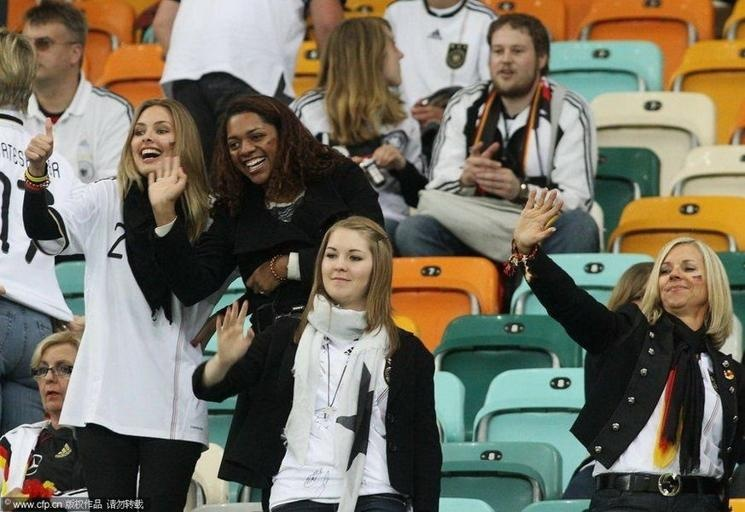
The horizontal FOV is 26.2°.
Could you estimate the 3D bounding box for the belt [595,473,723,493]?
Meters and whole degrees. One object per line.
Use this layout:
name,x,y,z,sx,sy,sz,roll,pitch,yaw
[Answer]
belt,1.364,1.071,7.448,0.523,0.101,0.101,2,-2,-4

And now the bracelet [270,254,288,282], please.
bracelet,-0.430,0.062,7.480,0.100,0.113,0.038,-2,-5,-27

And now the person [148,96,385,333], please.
person,-0.530,-0.166,7.589,0.947,1.382,0.828,-13,-22,12

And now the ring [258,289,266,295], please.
ring,-0.506,0.173,7.504,0.034,0.017,0.025,12,2,15

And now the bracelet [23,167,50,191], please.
bracelet,-1.541,-0.365,7.422,0.093,0.060,0.107,1,1,0

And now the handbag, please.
handbag,0.568,-0.196,9.348,0.472,0.179,0.450,11,-37,13

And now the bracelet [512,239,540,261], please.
bracelet,0.705,-0.037,7.436,0.093,0.100,0.043,-1,21,15

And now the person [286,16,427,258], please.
person,-0.075,-0.554,9.833,0.945,1.737,0.889,2,17,6
